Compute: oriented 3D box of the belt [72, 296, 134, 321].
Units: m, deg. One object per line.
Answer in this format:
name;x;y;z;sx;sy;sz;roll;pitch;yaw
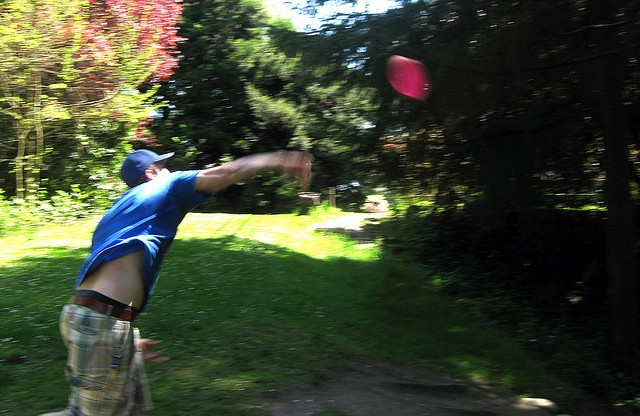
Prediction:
belt;-2.315;1.048;6.644;0.531;0.066;0.412;13;-8;-17
